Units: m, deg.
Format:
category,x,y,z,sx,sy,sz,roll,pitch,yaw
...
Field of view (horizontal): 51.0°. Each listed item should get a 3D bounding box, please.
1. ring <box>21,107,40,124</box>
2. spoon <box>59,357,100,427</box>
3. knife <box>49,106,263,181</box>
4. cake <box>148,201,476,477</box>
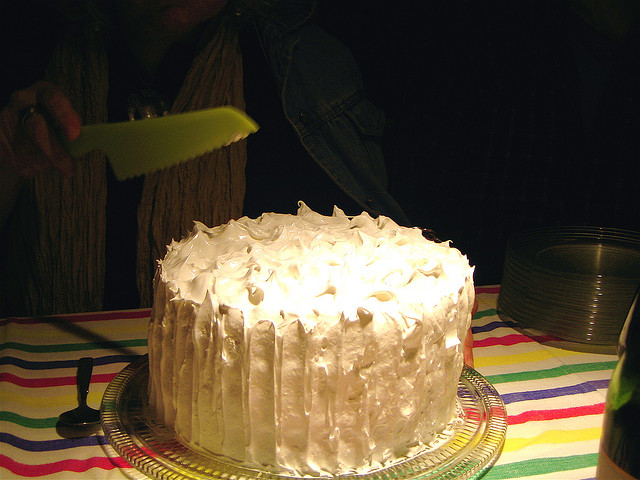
category,x,y,z,sx,sy,sz,roll,pitch,yaw
ring,-0.831,-0.358,1.916,0.045,0.041,0.012,-2,4,-27
spoon,-0.554,0.359,1.557,0.071,0.032,0.173,3,45,-8
knife,-0.339,-0.288,1.880,0.822,0.200,0.074,1,19,15
cake,-0.016,0.221,1.574,0.755,0.523,0.419,-1,3,-13
